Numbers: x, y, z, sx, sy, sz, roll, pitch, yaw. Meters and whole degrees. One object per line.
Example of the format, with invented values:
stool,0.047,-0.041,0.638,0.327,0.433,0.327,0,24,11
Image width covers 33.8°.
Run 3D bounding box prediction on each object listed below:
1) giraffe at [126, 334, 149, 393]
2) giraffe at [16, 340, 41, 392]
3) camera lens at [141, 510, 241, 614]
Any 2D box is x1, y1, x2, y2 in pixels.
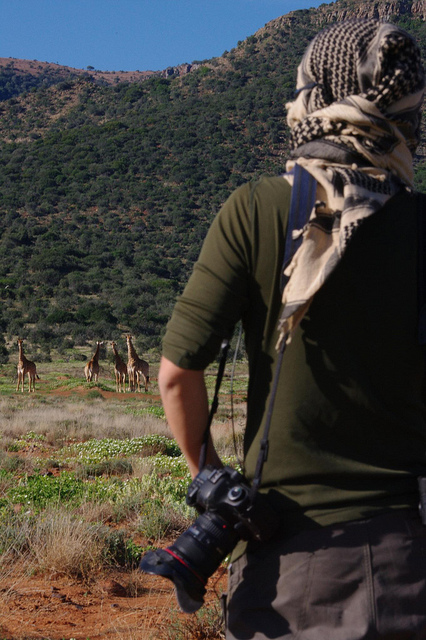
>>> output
giraffe,-2.649,1.567,24.693,0.718,2.153,1.889,1,4,-5
giraffe,-6.163,1.513,23.281,0.664,1.768,3.376,1,4,-14
camera lens,-0.028,0.481,1.512,0.143,0.114,0.241,16,46,34
